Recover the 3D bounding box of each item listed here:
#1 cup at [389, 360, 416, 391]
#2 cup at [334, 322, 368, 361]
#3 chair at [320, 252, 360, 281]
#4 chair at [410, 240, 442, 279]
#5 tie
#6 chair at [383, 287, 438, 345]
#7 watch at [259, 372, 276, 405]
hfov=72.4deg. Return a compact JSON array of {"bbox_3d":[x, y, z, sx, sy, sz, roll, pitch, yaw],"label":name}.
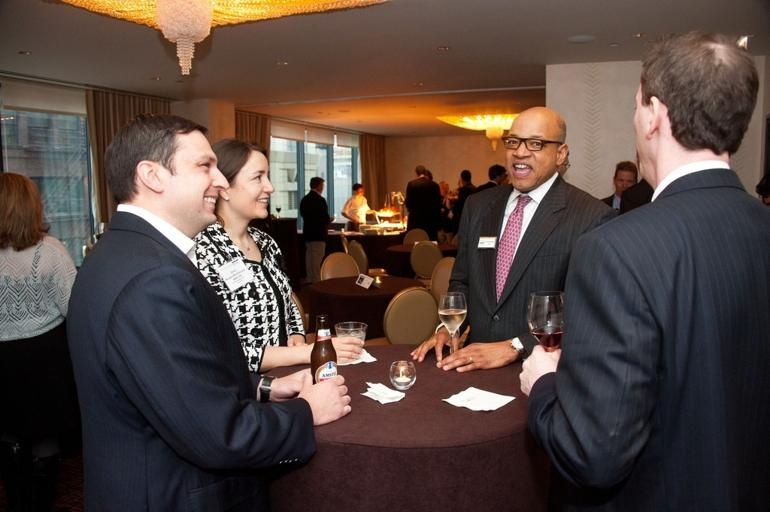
[{"bbox_3d":[0.077,0.461,2.021,0.092,0.087,0.097,0,-4,0],"label":"cup"},{"bbox_3d":[-0.163,0.373,2.353,0.139,0.156,0.139,-1,2,0],"label":"cup"},{"bbox_3d":[-0.477,0.122,5.264,0.259,0.370,0.303,-2,-3,-27],"label":"chair"},{"bbox_3d":[0.522,0.027,6.691,0.359,0.564,0.441,3,14,11],"label":"chair"},{"bbox_3d":[0.620,-0.055,2.578,0.107,0.691,0.071,13,-11,17],"label":"tie"},{"bbox_3d":[0.160,0.400,3.728,0.312,0.652,0.374,-2,8,-16],"label":"chair"},{"bbox_3d":[-0.449,0.494,1.956,0.053,0.088,0.078,6,1,8],"label":"watch"}]
